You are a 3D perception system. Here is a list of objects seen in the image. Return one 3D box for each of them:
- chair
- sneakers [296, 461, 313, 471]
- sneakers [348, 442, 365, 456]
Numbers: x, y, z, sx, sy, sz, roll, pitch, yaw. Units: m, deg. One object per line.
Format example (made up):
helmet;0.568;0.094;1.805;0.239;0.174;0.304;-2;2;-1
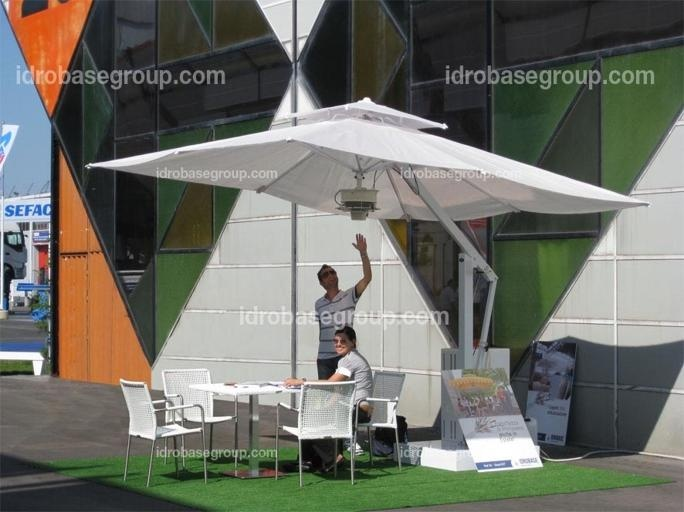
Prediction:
chair;-1.284;2.307;16.692;2.936;1.343;1.822;1;-8;5
sneakers;-0.476;2.731;16.656;0.186;0.075;0.197;5;5;5
sneakers;0.211;2.658;17.400;0.139;0.177;0.403;2;-11;-20
